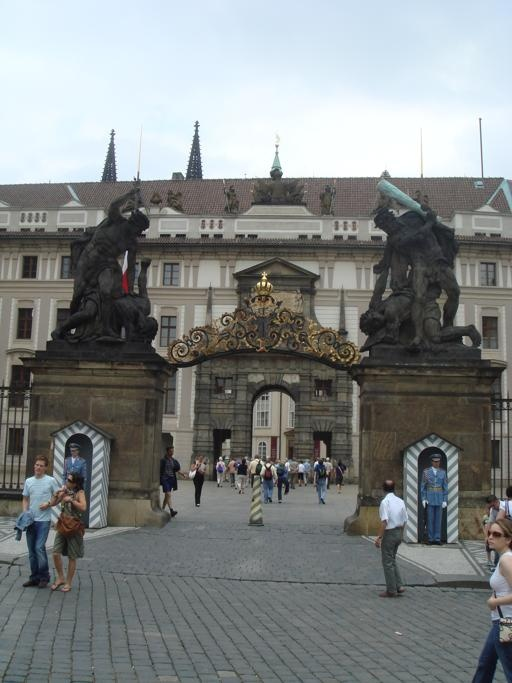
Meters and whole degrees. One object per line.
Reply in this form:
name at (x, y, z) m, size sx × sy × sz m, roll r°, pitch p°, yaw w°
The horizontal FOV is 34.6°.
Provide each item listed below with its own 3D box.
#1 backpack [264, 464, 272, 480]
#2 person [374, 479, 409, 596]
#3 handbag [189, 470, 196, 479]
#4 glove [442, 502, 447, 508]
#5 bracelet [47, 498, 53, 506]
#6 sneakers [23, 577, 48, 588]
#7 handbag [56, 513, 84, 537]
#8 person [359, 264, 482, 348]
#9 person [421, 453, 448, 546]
backpack at (0.355, 3.843, 24.064) m, size 0.217 × 0.419 × 0.505 m, roll 0°, pitch -5°, yaw 0°
person at (1.573, 2.280, 9.509) m, size 0.319 × 1.294 × 1.015 m, roll -1°, pitch -6°, yaw 11°
handbag at (-1.610, 3.380, 20.929) m, size 0.129 × 0.249 × 0.595 m, roll 1°, pitch -5°, yaw -9°
glove at (3.163, 2.753, 13.794) m, size 0.068 × 0.132 × 0.236 m, roll -2°, pitch -5°, yaw 12°
bracelet at (-2.220, 1.738, 8.867) m, size 0.053 × 0.072 × 0.078 m, roll 0°, pitch -6°, yaw -13°
sneakers at (-2.366, 2.592, 8.846) m, size 0.282 × 0.090 × 0.204 m, roll -1°, pitch -5°, yaw 8°
handbag at (-1.946, 1.925, 8.610) m, size 0.258 × 0.121 × 0.255 m, roll 12°, pitch 0°, yaw -36°
person at (2.912, -0.592, 15.191) m, size 1.954 × 1.494 × 0.728 m, roll -1°, pitch -6°, yaw 5°
person at (2.985, 2.645, 13.763) m, size 0.427 × 1.482 × 0.407 m, roll -1°, pitch -6°, yaw 10°
